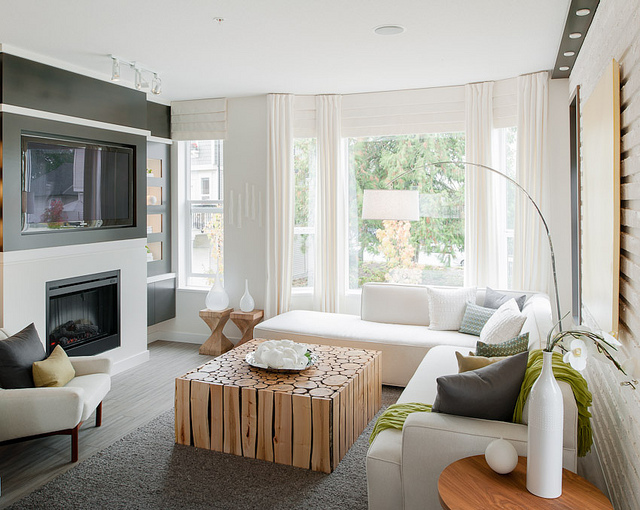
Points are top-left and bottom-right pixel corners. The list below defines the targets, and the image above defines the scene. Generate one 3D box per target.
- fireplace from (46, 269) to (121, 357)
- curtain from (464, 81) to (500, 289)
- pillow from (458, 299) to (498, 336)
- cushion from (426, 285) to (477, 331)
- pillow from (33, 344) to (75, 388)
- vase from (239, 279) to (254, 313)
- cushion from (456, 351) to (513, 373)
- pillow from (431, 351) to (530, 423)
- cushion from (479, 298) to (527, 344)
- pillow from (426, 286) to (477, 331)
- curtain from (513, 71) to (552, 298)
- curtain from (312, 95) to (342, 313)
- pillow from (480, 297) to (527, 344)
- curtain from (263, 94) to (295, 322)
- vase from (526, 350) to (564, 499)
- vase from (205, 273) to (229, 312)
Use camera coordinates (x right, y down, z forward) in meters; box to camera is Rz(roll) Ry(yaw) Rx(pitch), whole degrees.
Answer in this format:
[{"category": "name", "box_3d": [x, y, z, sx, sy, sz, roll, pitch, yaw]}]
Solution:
[{"category": "fireplace", "box_3d": [-2.345, 0.580, 4.332, 0.254, 0.791, 0.805, 2, 5, 23]}, {"category": "curtain", "box_3d": [1.725, -0.584, 4.976, 0.219, 2.478, 0.472, 2, 31, 25]}, {"category": "pillow", "box_3d": [1.466, 0.606, 4.227, 0.084, 0.272, 0.269, 27, -3, -31]}, {"category": "cushion", "box_3d": [1.351, 0.520, 4.474, 0.487, 0.482, 0.196, -2, 19, 14]}, {"category": "pillow", "box_3d": [-1.970, 0.865, 3.314, 0.212, 0.282, 0.513, 12, 0, -18]}, {"category": "vase", "box_3d": [-0.894, 0.503, 5.416, 0.168, 0.346, 0.356, -3, 5, -10]}, {"category": "cushion", "box_3d": [0.954, 0.617, 2.568, 0.192, 0.140, 0.064, -2, 1, -3]}, {"category": "pillow", "box_3d": [0.866, 0.710, 2.335, 0.378, 0.341, 0.223, -3, -20, 40]}, {"category": "cushion", "box_3d": [1.496, 0.554, 3.692, 0.236, 0.283, 0.630, -6, -10, 0]}, {"category": "pillow", "box_3d": [1.324, 0.523, 4.474, 0.462, 0.448, 0.188, -1, 7, 8]}, {"category": "curtain", "box_3d": [2.198, -0.704, 4.598, 0.362, 2.273, 0.197, 1, 6, 26]}, {"category": "curtain", "box_3d": [0.084, -0.606, 5.357, 0.352, 2.582, 0.223, 0, 5, 17]}, {"category": "pillow", "box_3d": [1.490, 0.546, 3.673, 0.246, 0.280, 0.627, -4, -13, -4]}, {"category": "curtain", "box_3d": [-0.502, -0.557, 5.383, 0.450, 2.693, 0.165, -2, 5, -6]}, {"category": "vase", "box_3d": [0.923, 0.667, 1.784, 0.195, 0.558, 0.112, -3, 5, -10]}, {"category": "vase", "box_3d": [-1.231, 0.483, 5.339, 0.324, 0.556, 0.321, 0, -2, -3]}]
